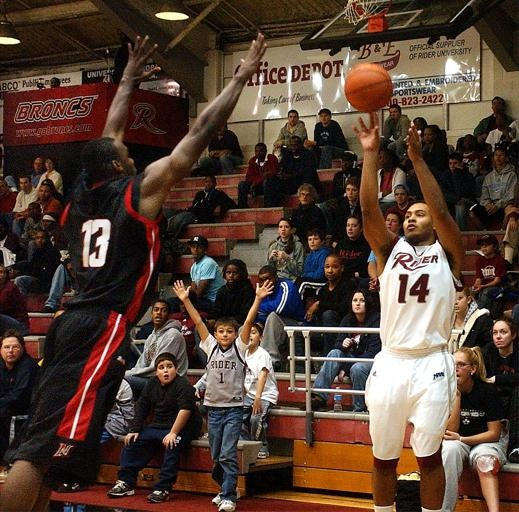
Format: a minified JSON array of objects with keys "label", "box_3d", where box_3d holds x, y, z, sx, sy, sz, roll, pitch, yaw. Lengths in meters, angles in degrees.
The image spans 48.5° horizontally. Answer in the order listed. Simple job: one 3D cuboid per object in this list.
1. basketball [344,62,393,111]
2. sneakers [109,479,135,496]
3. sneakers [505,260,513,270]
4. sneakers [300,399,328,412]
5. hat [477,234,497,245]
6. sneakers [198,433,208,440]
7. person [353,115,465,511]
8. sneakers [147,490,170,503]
[{"label":"basketball","box_3d":[0.659,-1.036,3.567,0.284,0.325,0.305,3,0,32]},{"label":"sneakers","box_3d":[-1.332,2.275,5.662,0.109,0.138,0.298,-9,-17,37]},{"label":"sneakers","box_3d":[3.512,0.144,8.085,0.107,0.123,0.125,0,-13,-4]},{"label":"sneakers","box_3d":[0.557,1.533,5.940,0.318,0.128,0.106,7,-8,-36]},{"label":"hat","box_3d":[3.198,-0.225,8.053,0.246,0.138,0.157,5,-16,-39]},{"label":"sneakers","box_3d":[-0.573,1.885,6.000,0.037,0.052,0.124,-2,-14,10]},{"label":"person","box_3d":[0.838,0.332,3.313,0.618,2.185,0.437,3,0,19]},{"label":"sneakers","box_3d":[-0.948,2.277,5.469,0.081,0.090,0.226,-8,-16,40]}]
